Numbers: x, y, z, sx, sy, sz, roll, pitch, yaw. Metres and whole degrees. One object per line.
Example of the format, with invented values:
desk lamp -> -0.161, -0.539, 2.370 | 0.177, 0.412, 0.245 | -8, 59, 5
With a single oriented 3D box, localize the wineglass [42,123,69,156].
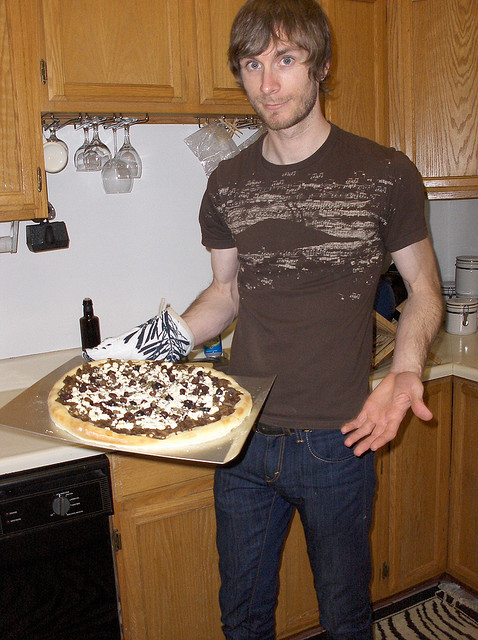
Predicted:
wineglass -> -0.548, -0.543, 1.689 | 0.048, 0.079, 0.083 | -21, 30, -39

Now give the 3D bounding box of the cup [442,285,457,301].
cup -> 0.915, -0.115, 2.411 | 0.072, 0.064, 0.073 | 0, 7, 0

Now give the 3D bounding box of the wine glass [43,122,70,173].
wine glass -> -0.560, -0.529, 1.713 | 0.084, 0.136, 0.132 | -3, 10, -11

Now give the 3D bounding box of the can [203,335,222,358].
can -> -0.082, 0.089, 1.950 | 0.052, 0.067, 0.094 | 7, 15, 31

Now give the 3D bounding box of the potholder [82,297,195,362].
potholder -> -0.244, 0.031, 1.360 | 0.290, 0.118, 0.092 | -6, 13, -3

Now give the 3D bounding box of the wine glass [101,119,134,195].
wine glass -> -0.398, -0.528, 1.797 | 0.110, 0.225, 0.107 | 7, 17, 26

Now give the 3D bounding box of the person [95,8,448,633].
person -> 0.066, 0.042, 1.156 | 0.656, 1.320, 0.478 | 3, 14, 20

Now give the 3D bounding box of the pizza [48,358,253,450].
pizza -> -0.209, 0.158, 1.204 | 0.393, 0.064, 0.487 | -5, 13, -18
